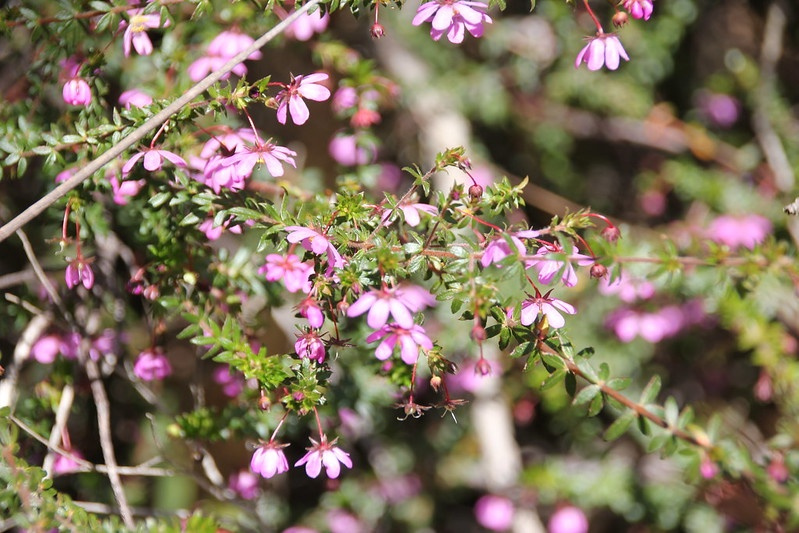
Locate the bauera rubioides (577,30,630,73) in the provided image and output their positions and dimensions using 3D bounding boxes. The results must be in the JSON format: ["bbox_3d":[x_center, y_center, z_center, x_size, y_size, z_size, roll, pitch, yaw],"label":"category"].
[{"bbox_3d":[0.794,-0.862,3.690,0.209,0.148,0.220,-18,14,-13],"label":"bauera rubioides"}]

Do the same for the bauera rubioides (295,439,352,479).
[{"bbox_3d":[-0.296,0.746,3.643,0.199,0.143,0.223,1,8,31],"label":"bauera rubioides"}]
